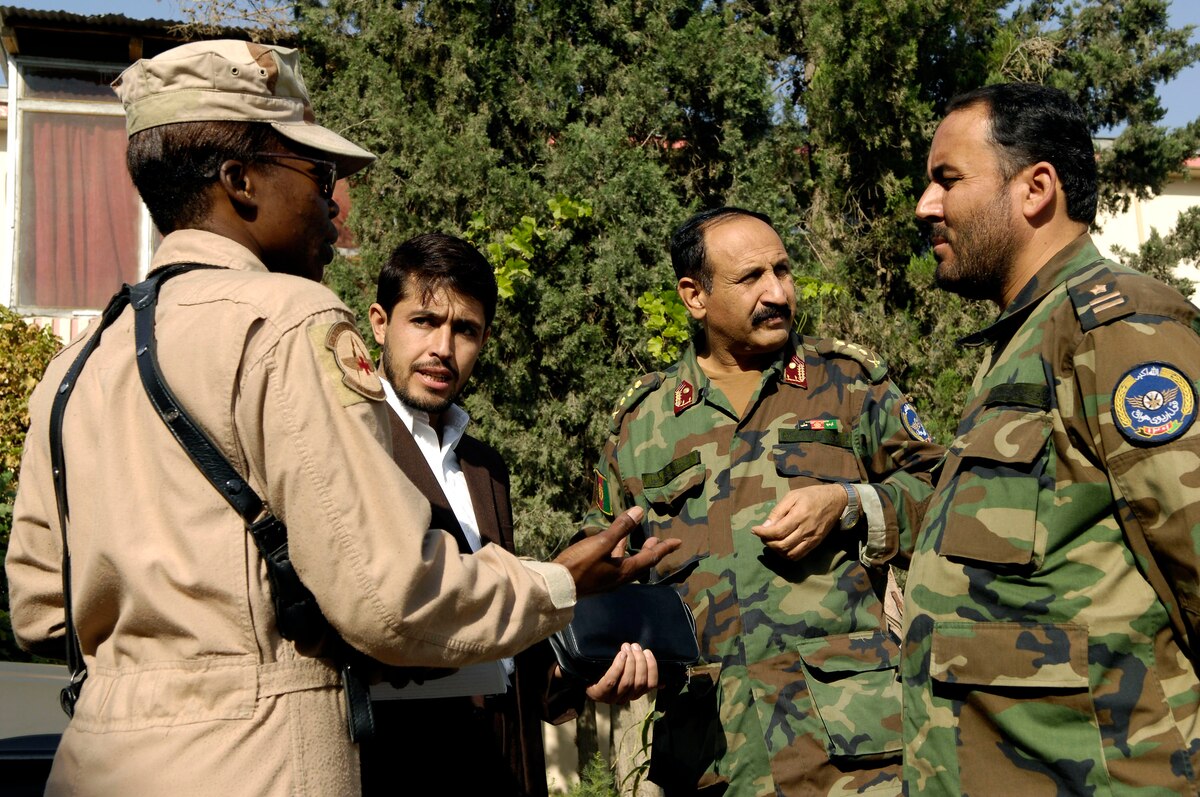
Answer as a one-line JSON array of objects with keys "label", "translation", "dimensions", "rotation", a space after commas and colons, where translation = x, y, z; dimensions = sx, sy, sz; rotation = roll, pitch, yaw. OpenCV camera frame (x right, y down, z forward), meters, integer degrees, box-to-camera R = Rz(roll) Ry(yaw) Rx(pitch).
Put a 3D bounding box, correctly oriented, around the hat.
[{"label": "hat", "translation": [-1.016, -0.879, 3.667], "dimensions": [0.640, 0.340, 0.520], "rotation": [0, 4, 11]}]
